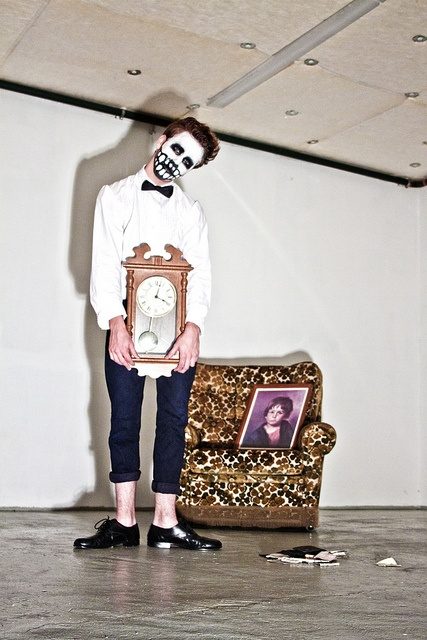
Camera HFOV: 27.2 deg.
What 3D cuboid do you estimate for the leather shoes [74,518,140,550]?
[{"bbox_3d":[-0.360,0.778,3.191,0.280,0.107,0.087,7,-20,-21],"label":"leather shoes"}]

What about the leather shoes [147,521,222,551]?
[{"bbox_3d":[-0.091,0.791,3.202,0.290,0.100,0.094,1,-15,-4],"label":"leather shoes"}]

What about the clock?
[{"bbox_3d":[-0.210,-0.056,3.137,0.243,0.434,0.105,8,-1,-7],"label":"clock"}]

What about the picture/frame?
[{"bbox_3d":[0.332,0.523,4.632,0.417,0.433,0.029,8,-40,23],"label":"picture/frame"}]

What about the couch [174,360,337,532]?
[{"bbox_3d":[0.216,0.630,4.596,0.894,0.792,0.788,-1,-4,17],"label":"couch"}]
